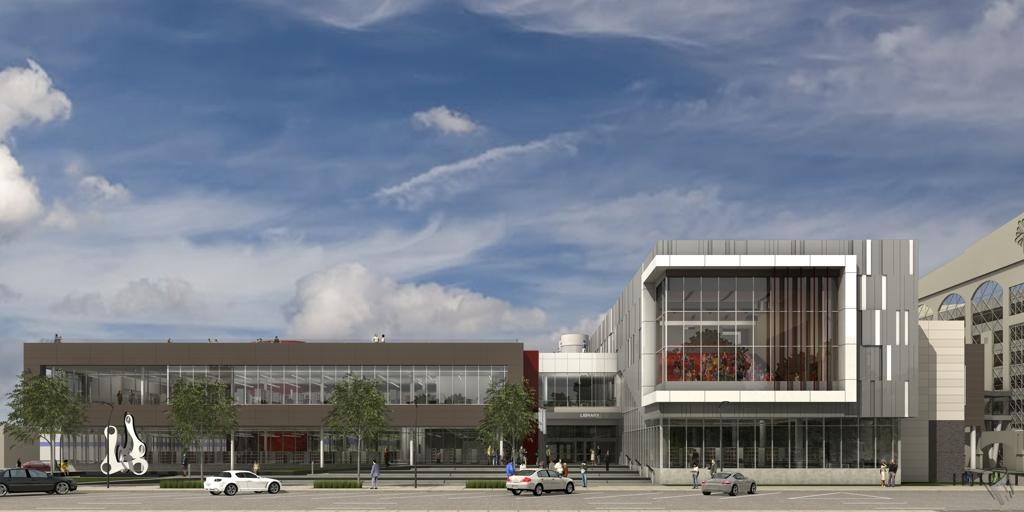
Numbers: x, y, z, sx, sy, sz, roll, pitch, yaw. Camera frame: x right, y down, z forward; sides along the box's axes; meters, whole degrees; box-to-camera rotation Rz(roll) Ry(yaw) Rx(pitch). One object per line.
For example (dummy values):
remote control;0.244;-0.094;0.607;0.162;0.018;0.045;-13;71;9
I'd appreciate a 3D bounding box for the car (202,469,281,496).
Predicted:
car;-37.723;31.451;244.689;8.897;2.461;4.022;0;-4;-27

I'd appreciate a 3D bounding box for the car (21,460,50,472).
car;-70.723;31.085;261.639;6.055;1.612;3.218;1;-2;-5
